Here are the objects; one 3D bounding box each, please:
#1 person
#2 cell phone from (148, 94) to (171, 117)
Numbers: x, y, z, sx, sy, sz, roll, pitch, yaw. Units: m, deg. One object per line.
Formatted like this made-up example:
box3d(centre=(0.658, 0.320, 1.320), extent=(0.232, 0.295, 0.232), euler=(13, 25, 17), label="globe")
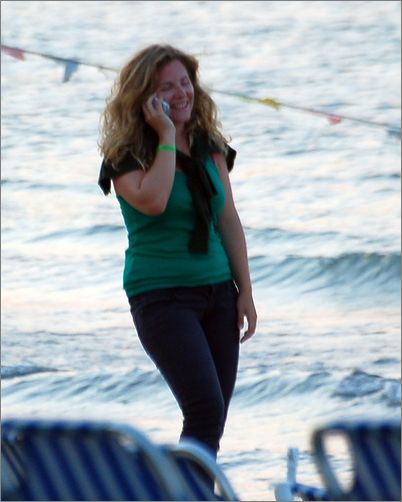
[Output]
box3d(centre=(-0.102, -0.046, 4.987), extent=(0.681, 1.835, 0.966), euler=(-6, 13, -4), label="person")
box3d(centre=(-0.200, -0.695, 5.036), extent=(0.098, 0.088, 0.034), euler=(3, 12, 30), label="cell phone")
